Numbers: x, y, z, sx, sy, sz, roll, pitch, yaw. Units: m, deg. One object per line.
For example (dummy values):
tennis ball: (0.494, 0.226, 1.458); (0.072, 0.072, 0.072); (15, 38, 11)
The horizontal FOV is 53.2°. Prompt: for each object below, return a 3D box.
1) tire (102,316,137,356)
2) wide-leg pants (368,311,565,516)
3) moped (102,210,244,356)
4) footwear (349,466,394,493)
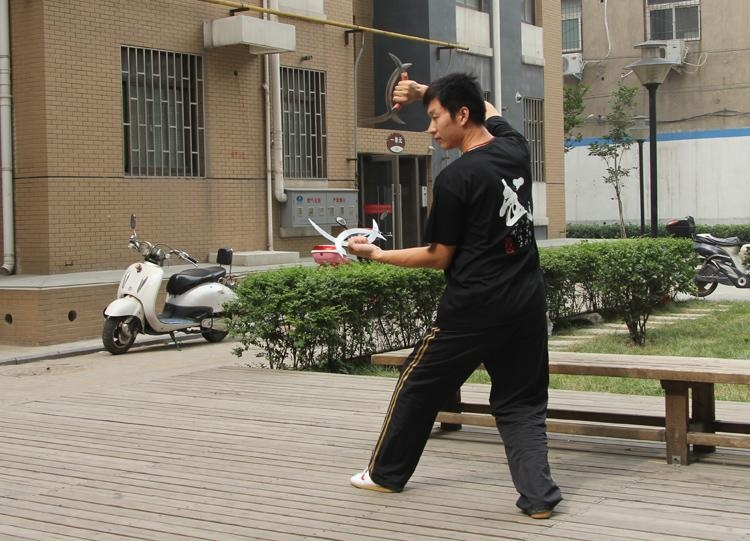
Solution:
tire: (-3.658, 0.920, 10.734); (0.499, 0.568, 0.326); (-3, 3, -24)
wide-leg pants: (0.671, 0.744, 4.570); (0.970, 1.060, 0.983); (6, 7, 19)
moped: (-3.089, 0.196, 11.287); (1.614, 1.987, 1.808); (-2, 3, 0)
footwear: (-0.035, 1.270, 4.548); (0.280, 0.105, 0.104); (7, 6, 26)
